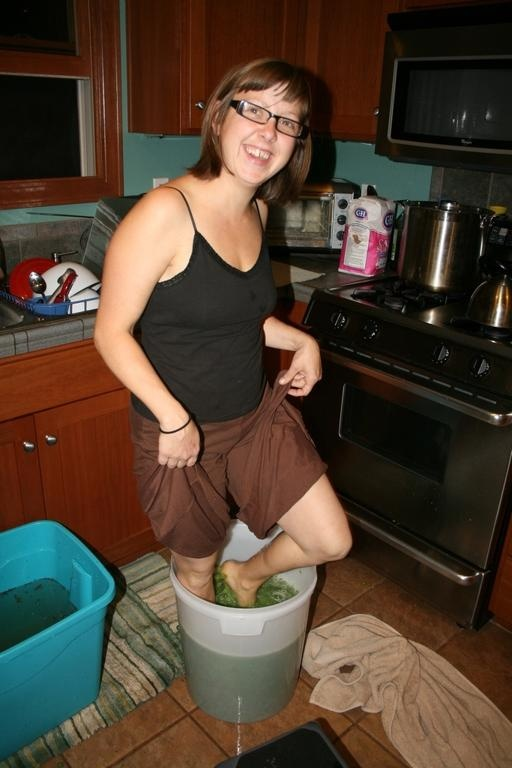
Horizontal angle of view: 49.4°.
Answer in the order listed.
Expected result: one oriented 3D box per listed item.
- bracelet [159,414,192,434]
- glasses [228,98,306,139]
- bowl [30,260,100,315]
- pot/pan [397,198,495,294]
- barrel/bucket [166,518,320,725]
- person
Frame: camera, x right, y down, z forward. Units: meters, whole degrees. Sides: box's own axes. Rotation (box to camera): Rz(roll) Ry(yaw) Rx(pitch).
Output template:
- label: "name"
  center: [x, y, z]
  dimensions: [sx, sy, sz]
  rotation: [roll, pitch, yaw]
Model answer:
- label: "bracelet"
  center: [-0.131, 0.074, 0.938]
  dimensions: [0.035, 0.009, 0.034]
  rotation: [-9, -16, -23]
- label: "glasses"
  center: [0.037, -0.480, 1.016]
  dimensions: [0.177, 0.054, 0.065]
  rotation: [-15, 28, -41]
- label: "bowl"
  center: [-0.544, -0.276, 1.587]
  dimensions: [0.191, 0.100, 0.268]
  rotation: [-3, 22, -18]
- label: "pot/pan"
  center: [0.520, -0.396, 1.659]
  dimensions: [0.274, 0.240, 0.264]
  rotation: [5, 26, 4]
- label: "barrel/bucket"
  center: [0.000, 0.560, 1.322]
  dimensions: [0.334, 0.372, 0.379]
  rotation: [0, 17, -2]
- label: "person"
  center: [-0.077, -0.015, 1.177]
  dimensions: [0.500, 1.189, 0.474]
  rotation: [-2, 22, -16]
